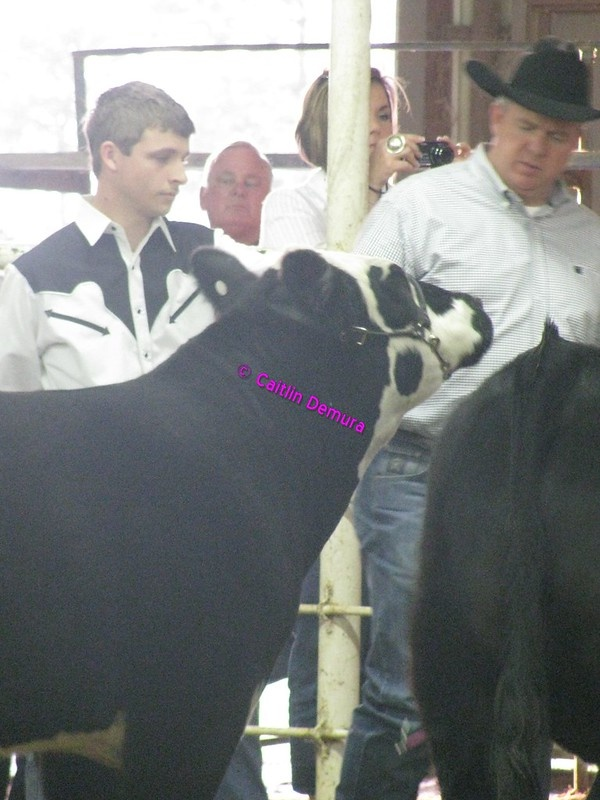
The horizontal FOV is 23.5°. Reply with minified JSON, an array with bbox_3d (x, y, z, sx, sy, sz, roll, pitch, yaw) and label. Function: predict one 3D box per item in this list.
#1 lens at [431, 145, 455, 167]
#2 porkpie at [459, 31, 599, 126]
[{"bbox_3d":[0.232,-0.399,2.357,0.043,0.033,0.013,0,8,19],"label":"lens"},{"bbox_3d":[0.370,-0.512,2.361,0.192,0.067,0.175,16,8,19],"label":"porkpie"}]
